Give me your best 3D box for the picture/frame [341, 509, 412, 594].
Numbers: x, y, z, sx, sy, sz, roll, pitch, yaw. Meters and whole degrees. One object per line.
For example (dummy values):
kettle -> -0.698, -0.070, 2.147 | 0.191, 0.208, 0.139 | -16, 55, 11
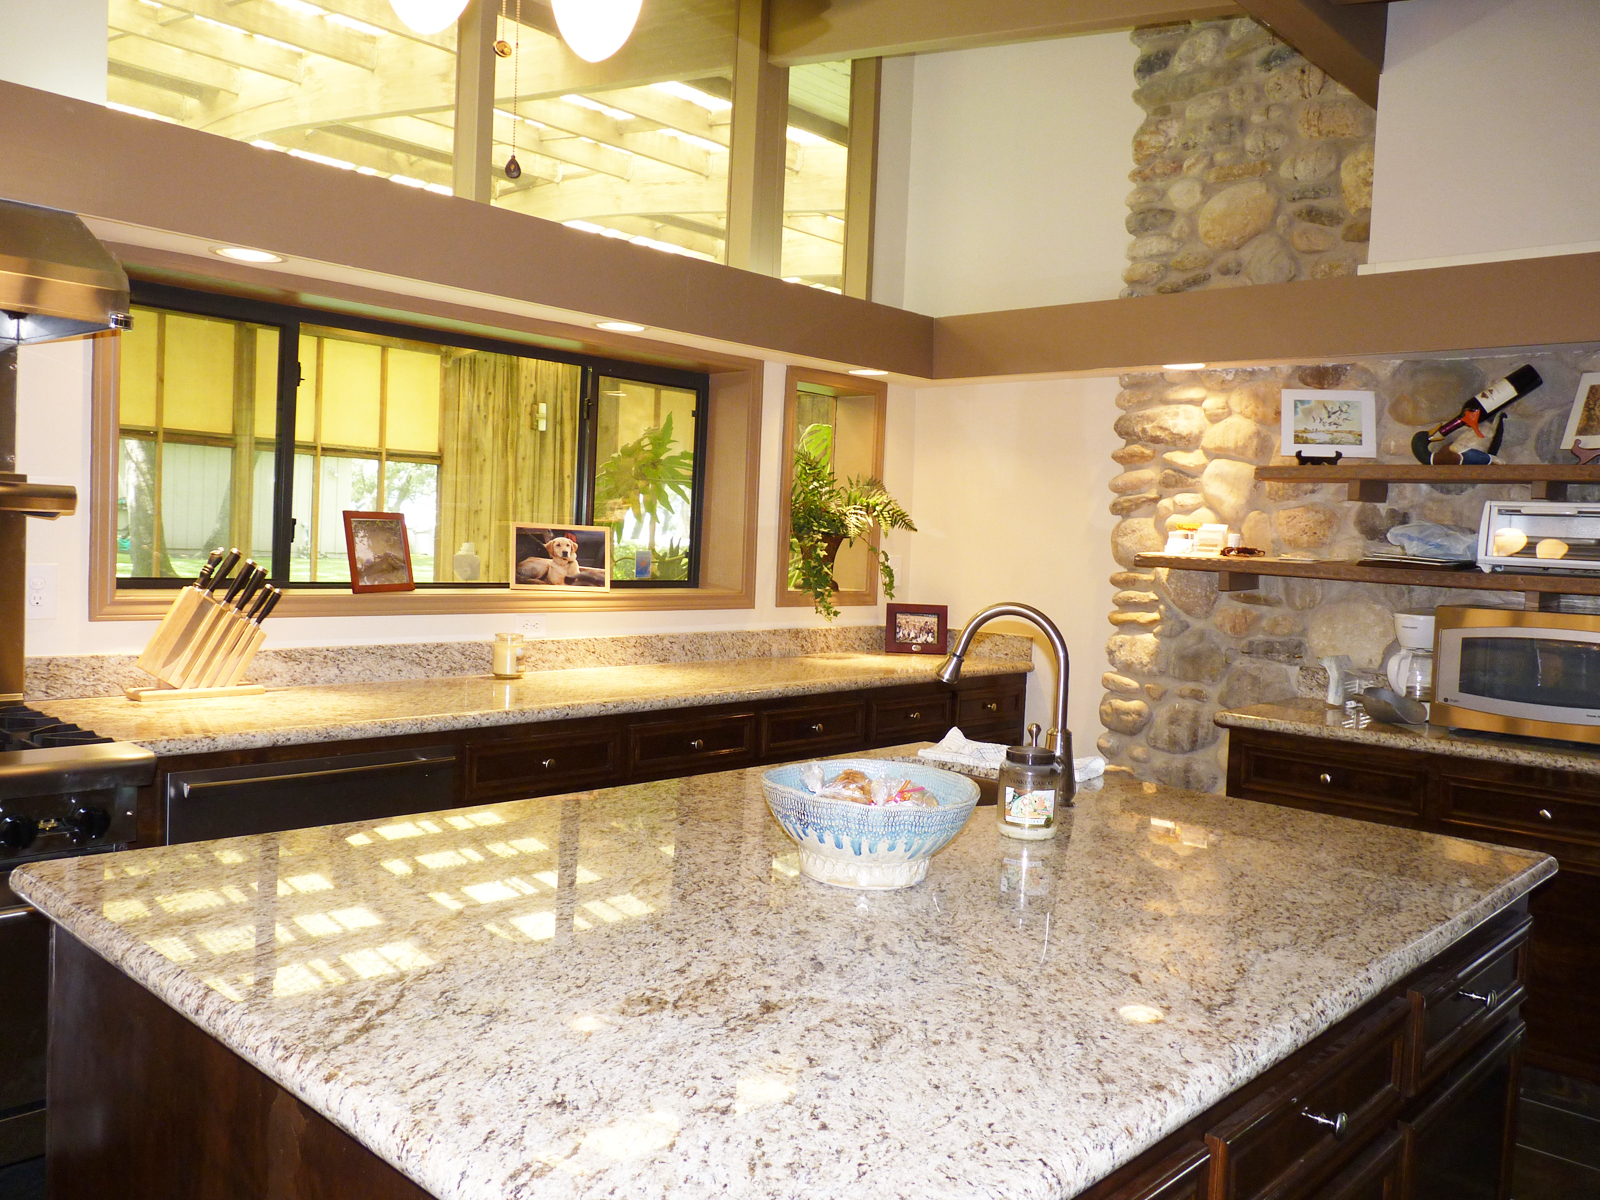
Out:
picture/frame -> -1.628, -0.190, 4.142 | 0.028, 0.310, 0.310 | -5, 1, 24

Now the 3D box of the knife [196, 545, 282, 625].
knife -> -1.802, -0.049, 3.505 | 0.277, 0.235, 0.078 | 32, 3, -11

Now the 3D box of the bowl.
bowl -> 0.144, 0.378, 1.914 | 0.303, 0.105, 0.266 | 1, -2, -11

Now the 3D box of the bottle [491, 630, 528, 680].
bottle -> -1.110, 0.205, 4.105 | 0.099, 0.171, 0.076 | 1, 10, -21

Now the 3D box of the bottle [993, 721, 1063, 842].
bottle -> 0.495, 0.385, 2.282 | 0.161, 0.199, 0.141 | 1, 1, -13

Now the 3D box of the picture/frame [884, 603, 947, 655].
picture/frame -> 0.593, 0.148, 5.516 | 0.331, 0.219, 0.030 | 1, -8, -1

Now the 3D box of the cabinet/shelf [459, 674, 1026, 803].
cabinet/shelf -> -0.266, 0.521, 4.224 | 1.988, 0.349, 0.312 | -4, -5, -28

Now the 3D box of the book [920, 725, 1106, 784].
book -> 0.509, 0.360, 2.781 | 0.277, 0.069, 0.218 | 0, 0, 45
